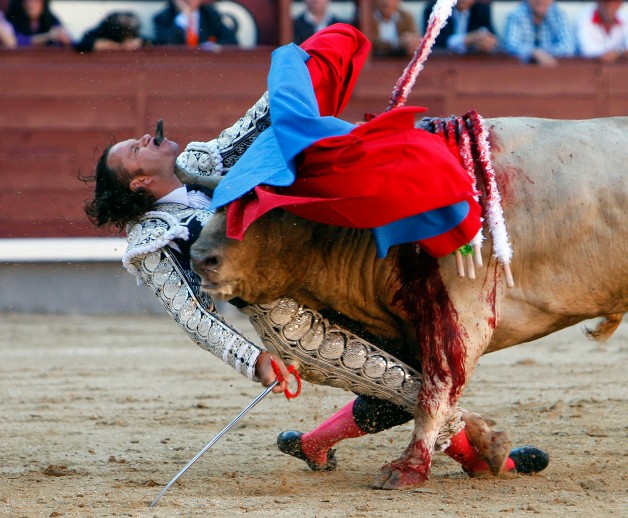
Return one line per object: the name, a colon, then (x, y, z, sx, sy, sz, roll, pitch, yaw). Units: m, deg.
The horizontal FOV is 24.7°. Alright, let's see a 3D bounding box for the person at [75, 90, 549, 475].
person: (0.111, -0.013, 5.370, 1.878, 0.576, 1.034, 29, 35, 4)
